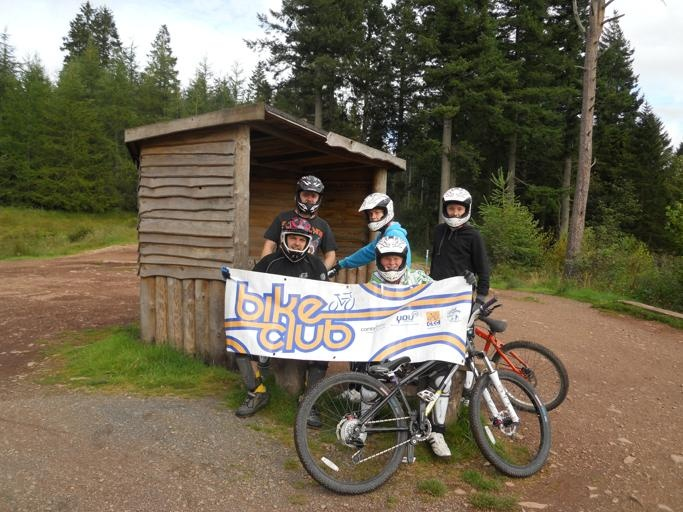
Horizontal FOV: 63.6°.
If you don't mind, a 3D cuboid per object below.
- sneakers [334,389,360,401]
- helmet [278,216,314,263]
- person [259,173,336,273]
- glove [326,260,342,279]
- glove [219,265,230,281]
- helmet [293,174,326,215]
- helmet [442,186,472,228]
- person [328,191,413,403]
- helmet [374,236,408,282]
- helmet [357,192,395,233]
[{"bbox_3d":[0.089,1.818,7.193,0.240,0.141,0.174,-12,7,-22],"label":"sneakers"},{"bbox_3d":[-0.642,-0.269,7.975,0.418,0.599,0.592,9,1,-5],"label":"helmet"},{"bbox_3d":[-0.622,-0.410,8.574,1.046,1.757,1.022,6,-4,-5],"label":"person"},{"bbox_3d":[-0.143,0.179,8.326,0.086,0.198,0.266,24,58,23],"label":"glove"},{"bbox_3d":[-1.661,0.234,7.872,0.152,0.241,0.081,-4,7,-18],"label":"glove"},{"bbox_3d":[-0.541,-0.995,8.714,0.398,0.618,0.566,4,11,-10],"label":"helmet"},{"bbox_3d":[1.682,-0.718,8.091,0.390,0.584,0.500,5,6,11],"label":"helmet"},{"bbox_3d":[0.373,0.425,8.062,0.963,2.577,0.851,-2,-17,29],"label":"person"},{"bbox_3d":[0.786,-0.004,7.532,0.392,0.561,0.549,2,20,38],"label":"helmet"},{"bbox_3d":[0.524,-0.660,8.351,0.458,0.592,0.664,4,6,2],"label":"helmet"}]
